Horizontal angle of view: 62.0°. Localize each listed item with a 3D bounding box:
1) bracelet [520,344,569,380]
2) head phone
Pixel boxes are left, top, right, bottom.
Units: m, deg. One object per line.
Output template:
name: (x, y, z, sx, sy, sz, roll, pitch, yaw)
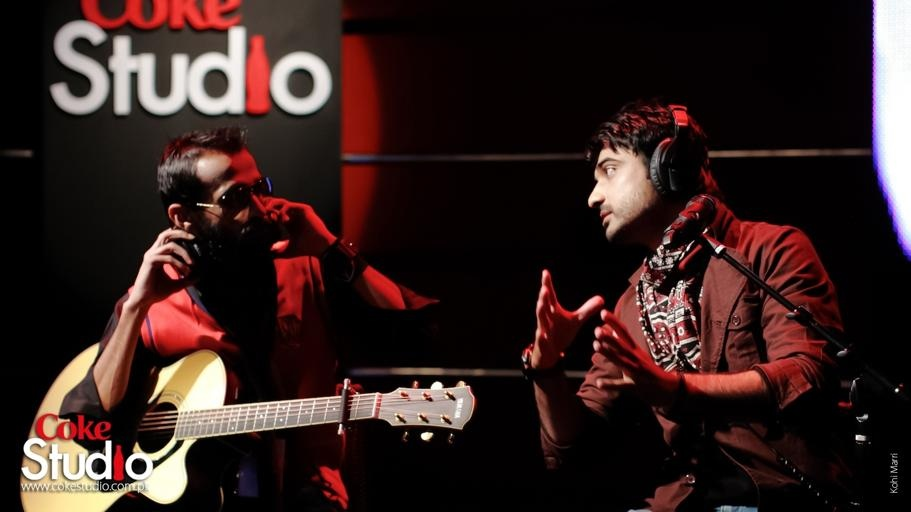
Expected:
bracelet: (0.457, 0.542, 4.004, 0.230, 0.100, 0.185, -8, 16, 5)
head phone: (1.134, -0.524, 3.904, 0.177, 0.390, 0.396, 1, -14, -3)
